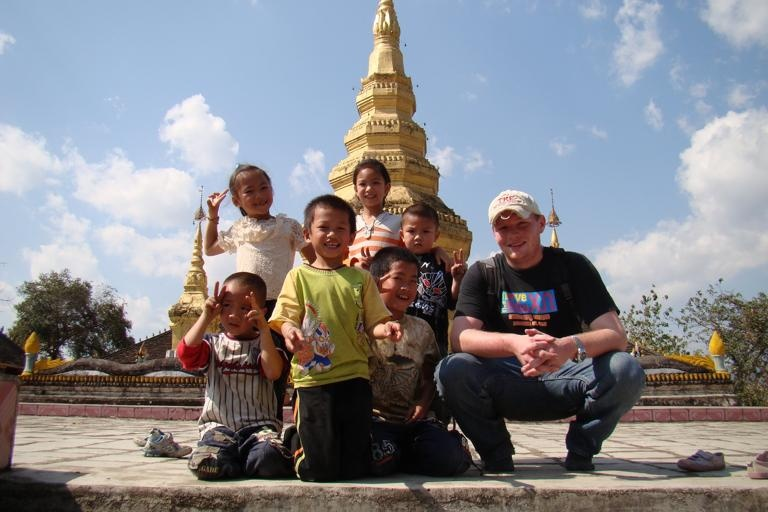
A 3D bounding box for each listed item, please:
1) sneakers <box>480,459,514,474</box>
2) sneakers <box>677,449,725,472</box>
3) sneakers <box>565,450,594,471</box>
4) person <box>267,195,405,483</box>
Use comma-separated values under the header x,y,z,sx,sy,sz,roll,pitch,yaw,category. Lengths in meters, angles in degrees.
x,y,z,sx,sy,sz,roll,pitch,yaw,category
0.786,1.453,3.542,0.221,0.073,0.119,-6,-14,18,sneakers
2.167,1.391,3.475,0.342,0.114,0.186,2,-14,-14,sneakers
1.323,1.390,3.491,0.172,0.171,0.111,-2,-8,8,sneakers
-0.348,0.468,3.465,0.831,1.942,0.438,2,-14,-10,person
